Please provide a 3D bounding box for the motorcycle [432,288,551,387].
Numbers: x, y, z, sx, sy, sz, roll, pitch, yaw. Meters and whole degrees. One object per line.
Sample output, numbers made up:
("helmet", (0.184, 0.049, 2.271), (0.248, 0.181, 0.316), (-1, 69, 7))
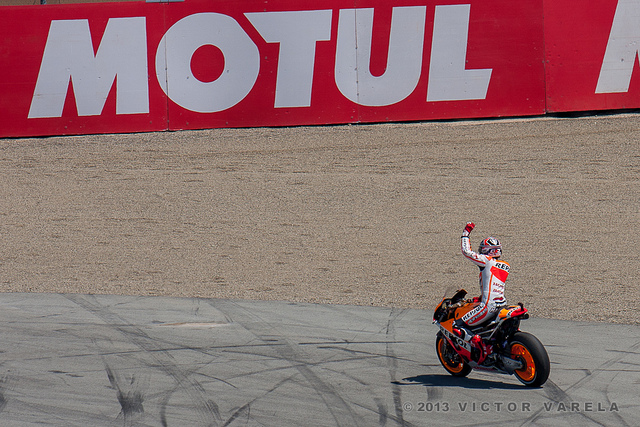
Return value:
("motorcycle", (3.395, 2.481, 22.627), (1.084, 1.825, 3.190), (-14, 7, -32))
